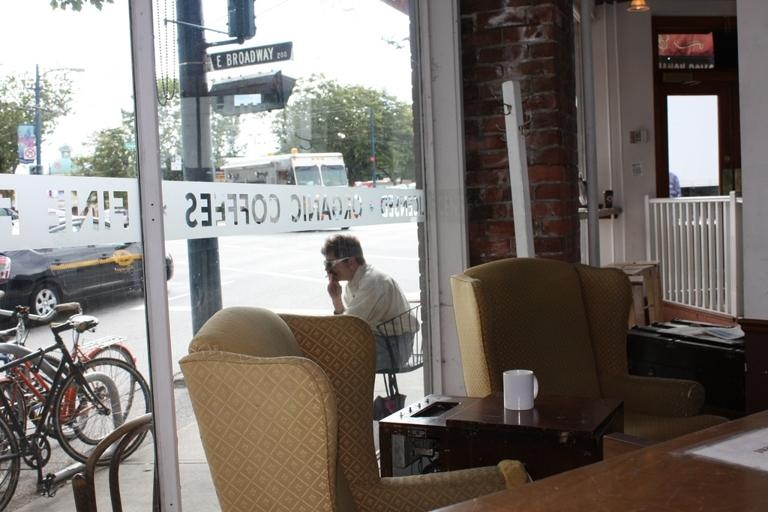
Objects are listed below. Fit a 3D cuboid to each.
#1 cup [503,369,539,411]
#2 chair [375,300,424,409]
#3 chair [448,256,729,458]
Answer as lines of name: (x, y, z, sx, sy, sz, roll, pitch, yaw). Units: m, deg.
cup: (0.517, 0.516, 2.827, 0.147, 0.140, 0.112, 3, -5, -34)
chair: (0.117, 0.541, 4.011, 0.392, 0.626, 0.485, -1, -2, 6)
chair: (0.911, 0.357, 3.502, 0.860, 1.212, 0.970, -1, -8, -44)
